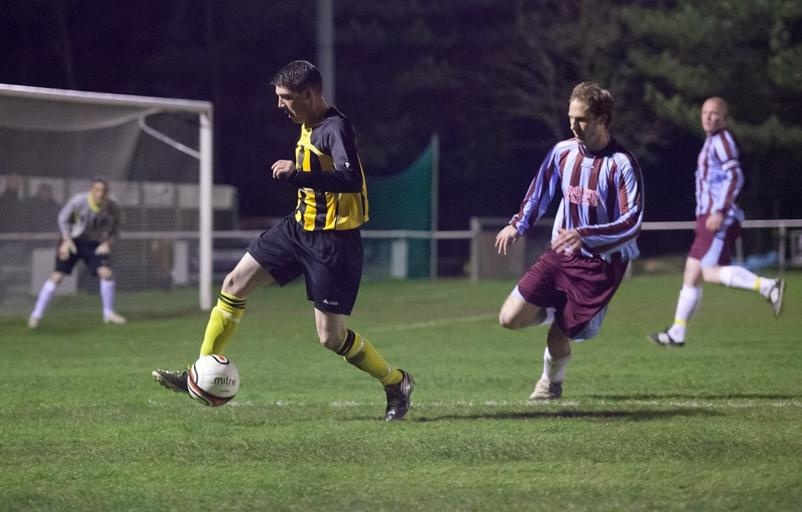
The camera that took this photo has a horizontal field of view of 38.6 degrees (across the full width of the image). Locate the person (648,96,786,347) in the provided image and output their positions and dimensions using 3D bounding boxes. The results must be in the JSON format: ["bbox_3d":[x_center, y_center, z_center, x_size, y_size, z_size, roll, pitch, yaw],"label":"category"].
[{"bbox_3d":[3.459,-0.343,12.552,0.513,2.811,1.370,-1,5,-41],"label":"person"}]

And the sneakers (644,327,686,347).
[{"bbox_3d":[2.980,0.928,12.930,0.429,0.189,0.162,10,11,34],"label":"sneakers"}]

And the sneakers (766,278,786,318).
[{"bbox_3d":[3.908,0.435,11.983,0.172,0.377,0.143,-8,10,5],"label":"sneakers"}]

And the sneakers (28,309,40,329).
[{"bbox_3d":[-3.741,0.665,11.743,0.085,0.053,0.163,10,36,6],"label":"sneakers"}]

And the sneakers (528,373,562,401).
[{"bbox_3d":[1.491,1.383,11.796,0.211,0.314,0.132,44,19,-11],"label":"sneakers"}]

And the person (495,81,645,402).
[{"bbox_3d":[1.707,-0.124,11.449,1.325,3.242,0.622,3,4,10],"label":"person"}]
